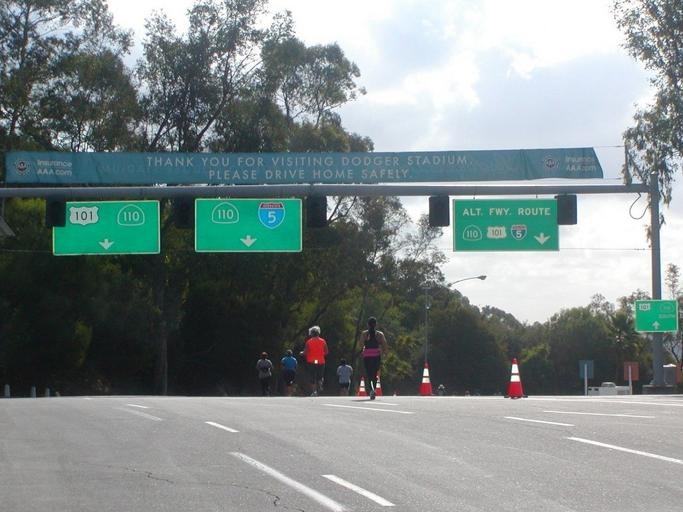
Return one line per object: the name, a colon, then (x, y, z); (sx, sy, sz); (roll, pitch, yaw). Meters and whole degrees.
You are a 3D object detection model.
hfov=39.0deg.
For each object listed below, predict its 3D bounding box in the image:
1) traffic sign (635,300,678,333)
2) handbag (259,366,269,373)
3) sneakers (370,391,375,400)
traffic sign: (11.609, 2.190, 35.439); (1.537, 1.437, 0.234); (-1, 3, 14)
handbag: (-2.935, 4.302, 36.698); (0.356, 0.204, 0.315); (-1, -8, -5)
sneakers: (0.882, 3.911, 27.287); (0.185, 0.253, 0.199); (2, 0, 13)
